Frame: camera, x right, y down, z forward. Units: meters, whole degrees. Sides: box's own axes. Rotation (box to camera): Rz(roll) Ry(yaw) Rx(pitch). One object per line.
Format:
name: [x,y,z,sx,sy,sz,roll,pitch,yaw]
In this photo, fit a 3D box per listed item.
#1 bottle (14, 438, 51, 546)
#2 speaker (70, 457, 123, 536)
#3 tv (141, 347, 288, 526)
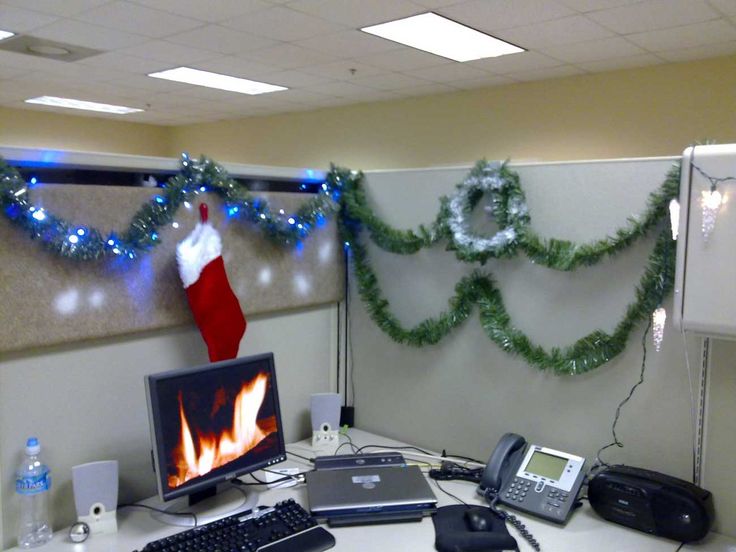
bottle: [-0.969,0.638,1.604,0.108,0.265,0.092,-10,14,-35]
speaker: [-0.801,0.660,1.655,0.123,0.212,0.080,-9,14,-31]
tv: [-0.505,0.521,1.774,0.457,0.517,0.240,-1,-3,-43]
